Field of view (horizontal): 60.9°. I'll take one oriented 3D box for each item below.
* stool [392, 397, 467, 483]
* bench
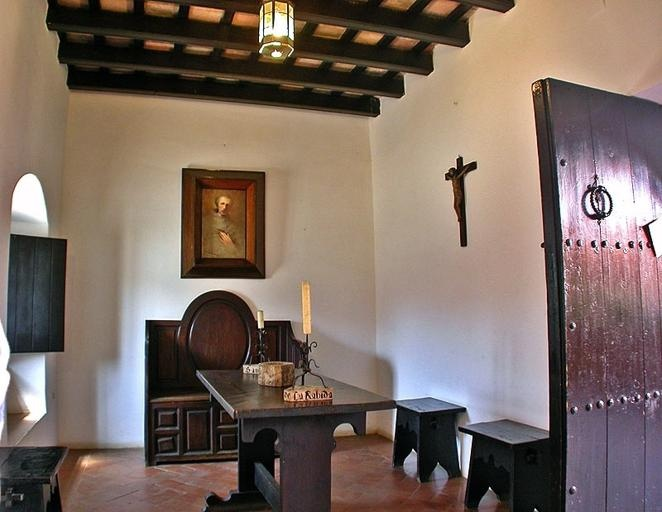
[{"bbox_3d":[0.933,1.748,5.498,0.556,0.671,0.549,0,-1,-23],"label":"stool"},{"bbox_3d":[-1.187,1.203,5.500,1.491,1.697,0.555,1,-6,-19],"label":"bench"}]
